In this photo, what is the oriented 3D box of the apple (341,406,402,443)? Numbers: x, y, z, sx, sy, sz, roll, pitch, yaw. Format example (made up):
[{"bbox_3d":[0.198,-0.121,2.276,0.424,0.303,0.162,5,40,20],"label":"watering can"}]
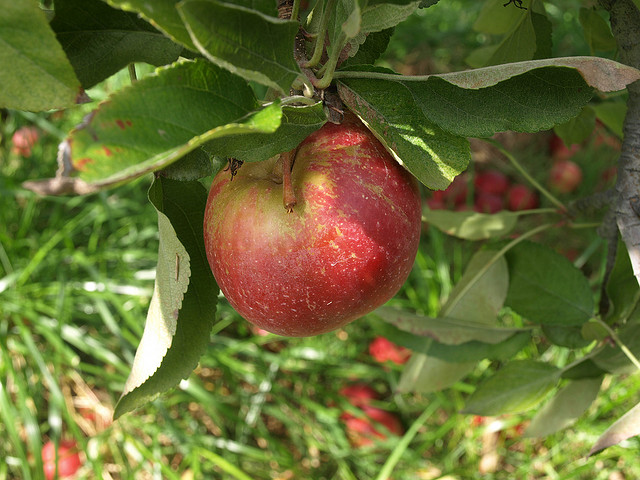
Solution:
[{"bbox_3d":[0.111,0.378,1.226,0.112,0.053,0.078,-8,48,-11],"label":"apple"}]

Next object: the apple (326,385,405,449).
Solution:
[{"bbox_3d":[0.095,0.354,1.266,0.102,0.129,0.110,-43,31,-1],"label":"apple"}]

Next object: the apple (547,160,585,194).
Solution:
[{"bbox_3d":[0.740,-0.192,1.826,0.092,0.093,0.098,9,42,10],"label":"apple"}]

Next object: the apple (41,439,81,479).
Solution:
[{"bbox_3d":[-0.579,0.485,1.363,0.073,0.074,0.077,-5,10,-2],"label":"apple"}]

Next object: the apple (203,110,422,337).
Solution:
[{"bbox_3d":[0.027,-0.020,0.832,0.268,0.201,0.273,-19,48,34],"label":"apple"}]

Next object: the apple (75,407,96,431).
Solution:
[{"bbox_3d":[-0.566,0.426,1.465,0.041,0.051,0.041,-28,14,-13],"label":"apple"}]
